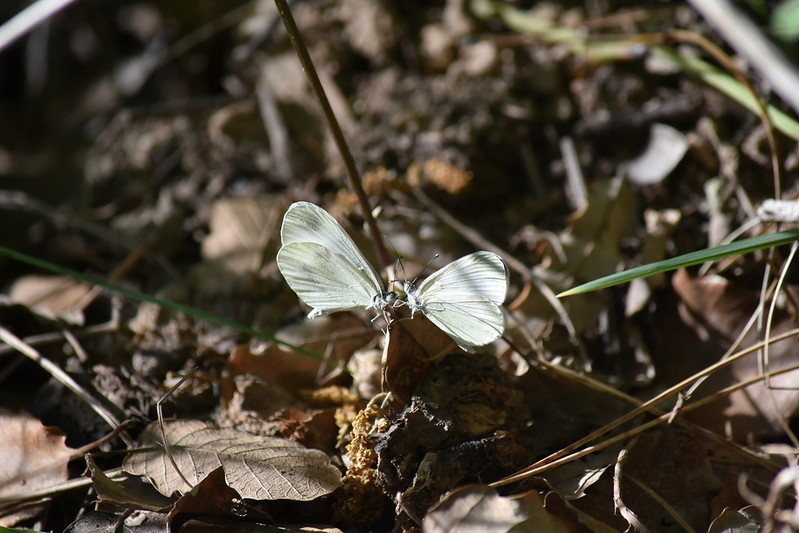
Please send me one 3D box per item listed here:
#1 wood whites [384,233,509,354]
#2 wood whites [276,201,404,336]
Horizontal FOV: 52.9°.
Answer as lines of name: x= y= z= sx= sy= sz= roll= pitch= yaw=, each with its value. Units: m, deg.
wood whites: x=0.100 y=0.065 z=1.778 sx=0.269 sy=0.194 sz=0.275 roll=22 pitch=-11 yaw=-1
wood whites: x=-0.073 y=0.015 z=1.818 sx=0.292 sy=0.217 sz=0.356 roll=6 pitch=-5 yaw=30
